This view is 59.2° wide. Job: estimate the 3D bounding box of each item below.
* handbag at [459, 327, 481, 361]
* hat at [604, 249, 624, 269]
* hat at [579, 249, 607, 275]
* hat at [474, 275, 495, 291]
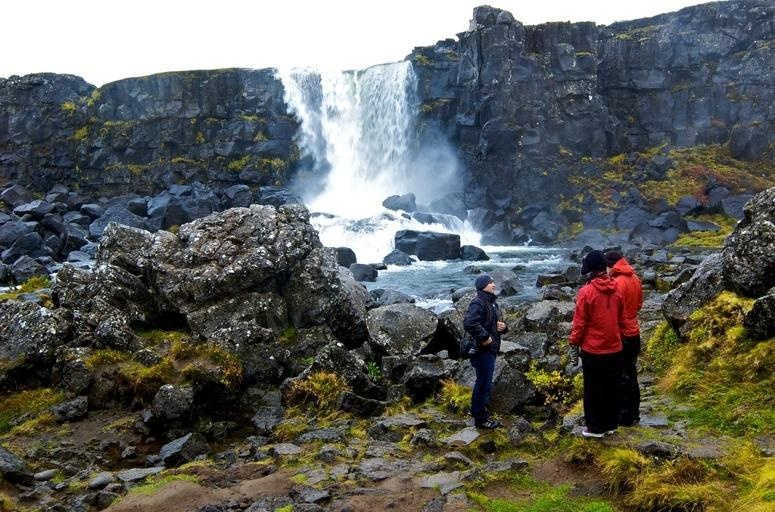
[{"bbox_3d":[2.950,3.165,24.613,0.418,0.966,0.675,-2,2,-33],"label":"handbag"},{"bbox_3d":[8.387,0.082,25.187,0.621,0.563,0.905,-1,6,36],"label":"hat"},{"bbox_3d":[7.204,0.170,23.568,0.639,0.662,1.020,-7,9,-17],"label":"hat"},{"bbox_3d":[3.544,0.858,24.928,0.627,0.499,0.500,-19,10,19],"label":"hat"}]
